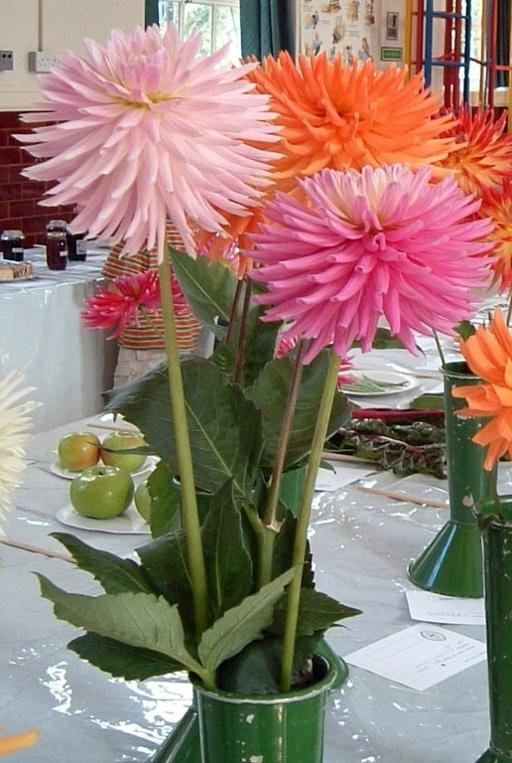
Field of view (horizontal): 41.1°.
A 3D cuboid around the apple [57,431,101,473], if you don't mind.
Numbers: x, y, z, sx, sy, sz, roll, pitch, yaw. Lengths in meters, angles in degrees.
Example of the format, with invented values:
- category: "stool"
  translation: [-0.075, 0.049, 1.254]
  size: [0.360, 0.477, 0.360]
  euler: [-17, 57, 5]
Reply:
- category: "apple"
  translation: [-0.328, 0.133, 1.267]
  size: [0.082, 0.076, 0.072]
  euler: [-2, 23, -9]

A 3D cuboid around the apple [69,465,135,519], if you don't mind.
- category: "apple"
  translation: [-0.252, 0.183, 1.104]
  size: [0.100, 0.071, 0.089]
  euler: [-3, 11, -5]
